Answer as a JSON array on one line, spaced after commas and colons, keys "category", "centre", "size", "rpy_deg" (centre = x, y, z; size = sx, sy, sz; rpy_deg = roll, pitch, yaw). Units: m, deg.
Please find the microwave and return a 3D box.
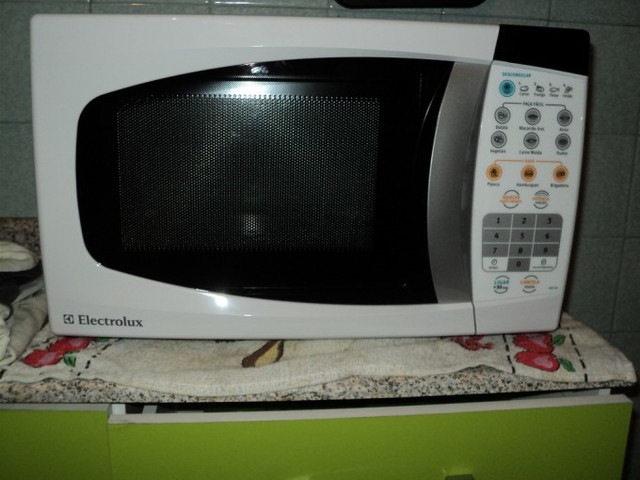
[{"category": "microwave", "centre": [-0.046, -0.096, 1.101], "size": [0.864, 0.500, 0.514], "rpy_deg": [-1, 3, -14]}]
